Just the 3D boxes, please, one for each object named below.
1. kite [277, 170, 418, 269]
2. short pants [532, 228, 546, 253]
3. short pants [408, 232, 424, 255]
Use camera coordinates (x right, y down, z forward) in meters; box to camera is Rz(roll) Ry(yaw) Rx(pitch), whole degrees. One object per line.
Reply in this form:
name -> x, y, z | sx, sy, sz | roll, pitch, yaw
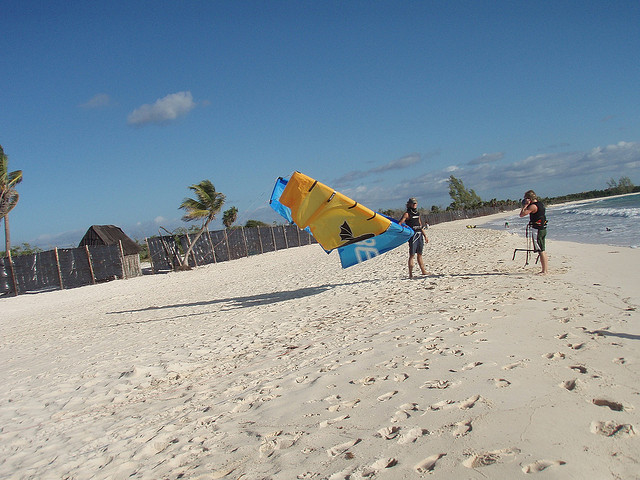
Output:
kite -> 0.741, -0.569, 8.777 | 4.382, 1.997, 1.865 | -7, 22, -31
short pants -> 4.803, -0.024, 8.044 | 0.243, 0.467, 0.537 | -7, 6, 31
short pants -> 2.320, 0.076, 8.882 | 0.272, 0.552, 0.566 | -4, 8, 45
